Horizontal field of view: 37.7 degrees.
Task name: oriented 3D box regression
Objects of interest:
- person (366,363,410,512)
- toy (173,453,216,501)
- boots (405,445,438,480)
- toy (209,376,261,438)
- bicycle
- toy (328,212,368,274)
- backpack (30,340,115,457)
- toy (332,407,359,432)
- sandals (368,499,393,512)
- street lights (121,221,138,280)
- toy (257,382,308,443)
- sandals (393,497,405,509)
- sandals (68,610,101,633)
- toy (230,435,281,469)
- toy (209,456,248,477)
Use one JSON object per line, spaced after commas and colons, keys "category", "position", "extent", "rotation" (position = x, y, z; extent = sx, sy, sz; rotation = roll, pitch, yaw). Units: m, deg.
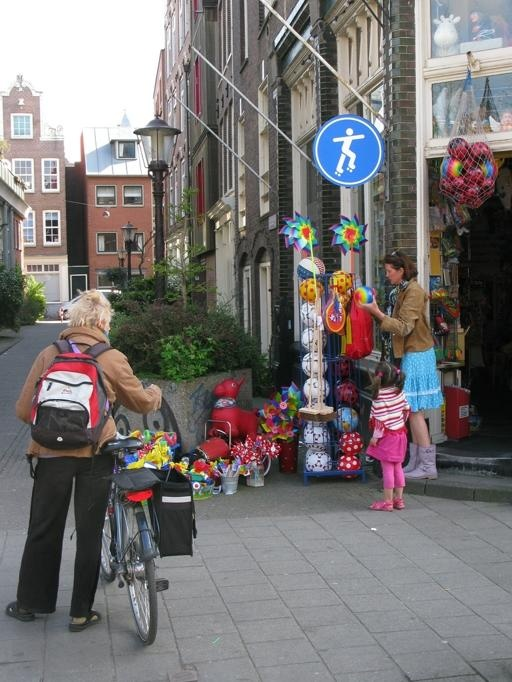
{"category": "person", "position": [1.030, 0.741, 5.908], "extent": [0.351, 1.160, 0.306], "rotation": [-1, 1, -10]}
{"category": "toy", "position": [-0.527, 1.177, 6.491], "extent": [0.356, 0.326, 0.608], "rotation": [-1, 1, -3]}
{"category": "boots", "position": [1.397, 1.023, 6.491], "extent": [0.269, 0.271, 0.302], "rotation": [1, 1, -9]}
{"category": "toy", "position": [-0.201, 0.667, 7.484], "extent": [0.541, 0.631, 0.417], "rotation": [10, -7, -33]}
{"category": "bicycle", "position": [-0.604, 0.901, 3.630], "extent": [0.413, 0.534, 0.910], "rotation": [0, 6, -12]}
{"category": "toy", "position": [0.807, -0.929, 6.572], "extent": [0.218, 0.353, 0.363], "rotation": [0, 1, 40]}
{"category": "backpack", "position": [-0.856, 0.241, 3.541], "extent": [0.312, 0.496, 0.487], "rotation": [6, 12, -1]}
{"category": "toy", "position": [0.849, 0.743, 7.068], "extent": [0.243, 0.243, 0.198], "rotation": [-1, 1, 0]}
{"category": "sandals", "position": [0.990, 1.284, 5.899], "extent": [0.149, 0.070, 0.075], "rotation": [4, 5, 26]}
{"category": "street lights", "position": [-3.881, -2.743, 22.839], "extent": [0.506, 1.782, 0.453], "rotation": [2, 6, 19]}
{"category": "toy", "position": [0.232, 0.692, 7.192], "extent": [0.396, 0.574, 0.341], "rotation": [-1, 1, -9]}
{"category": "sandals", "position": [1.120, 1.274, 5.888], "extent": [0.048, 0.054, 0.123], "rotation": [0, 4, -6]}
{"category": "sandals", "position": [-0.829, 1.357, 3.633], "extent": [0.058, 0.068, 0.171], "rotation": [3, 11, 26]}
{"category": "toy", "position": [-0.005, 0.989, 6.839], "extent": [0.296, 0.157, 0.305], "rotation": [4, 4, 36]}
{"category": "toy", "position": [-0.228, 1.117, 6.672], "extent": [0.210, 0.087, 0.214], "rotation": [-2, -5, 28]}
